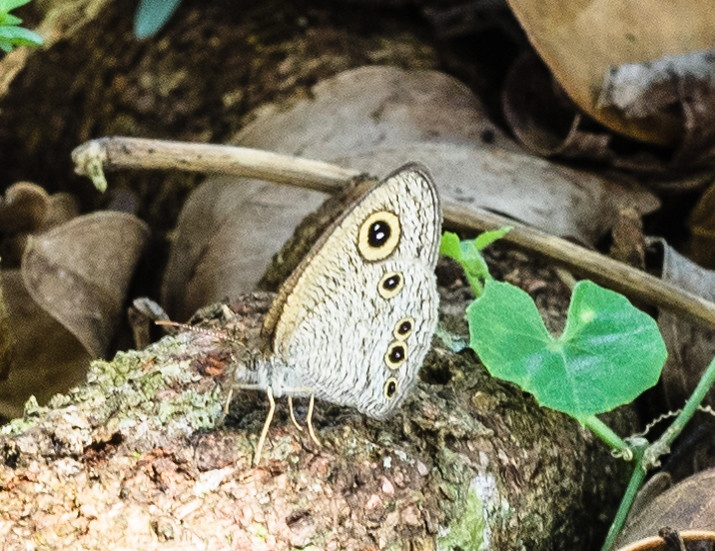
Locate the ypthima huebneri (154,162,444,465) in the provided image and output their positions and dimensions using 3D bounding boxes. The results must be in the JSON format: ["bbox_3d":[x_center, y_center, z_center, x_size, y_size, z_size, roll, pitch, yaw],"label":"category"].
[{"bbox_3d":[-0.046,0.044,1.670,0.214,0.310,0.423,8,9,36],"label":"ypthima huebneri"}]
